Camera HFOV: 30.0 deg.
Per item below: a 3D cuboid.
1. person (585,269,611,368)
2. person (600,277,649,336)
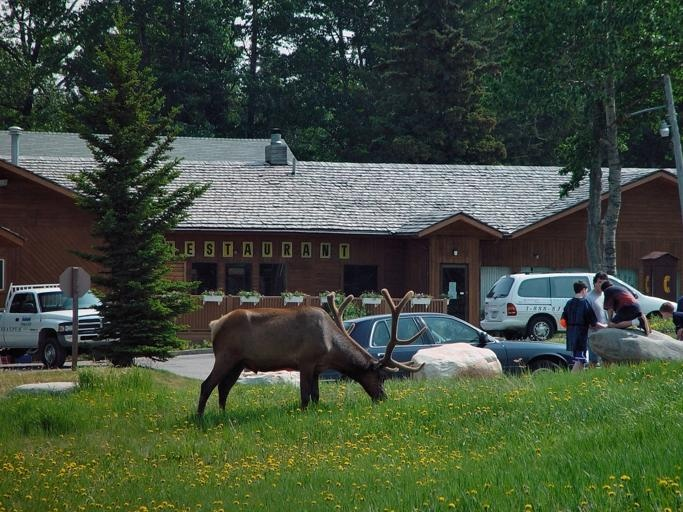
[{"bbox_3d":[7.271,1.679,36.099,0.706,3.173,0.876,-3,4,-40],"label":"person"},{"bbox_3d":[7.923,1.413,35.536,0.863,1.750,0.866,2,2,23],"label":"person"}]
